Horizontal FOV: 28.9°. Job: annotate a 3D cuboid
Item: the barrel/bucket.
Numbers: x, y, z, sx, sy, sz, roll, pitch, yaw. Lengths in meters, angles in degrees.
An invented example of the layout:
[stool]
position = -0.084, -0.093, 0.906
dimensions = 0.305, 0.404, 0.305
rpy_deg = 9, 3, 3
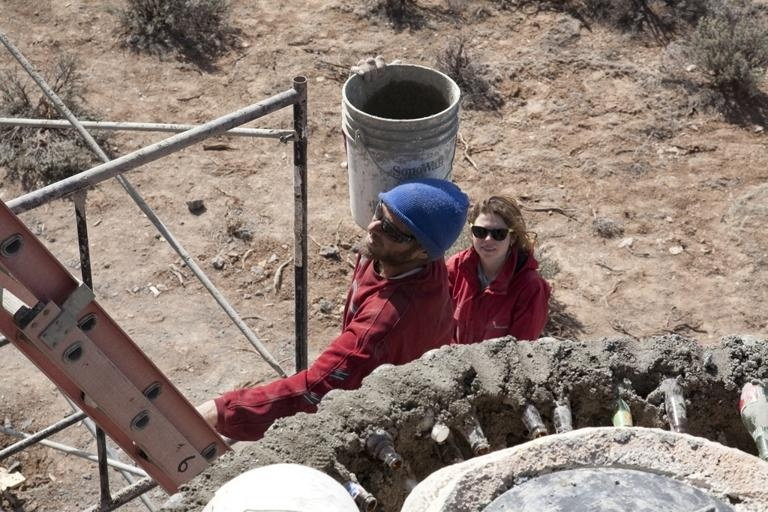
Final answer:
[barrel/bucket]
position = 0.249, -1.259, 17.974
dimensions = 1.442, 1.682, 1.572
rpy_deg = 3, 36, -2
